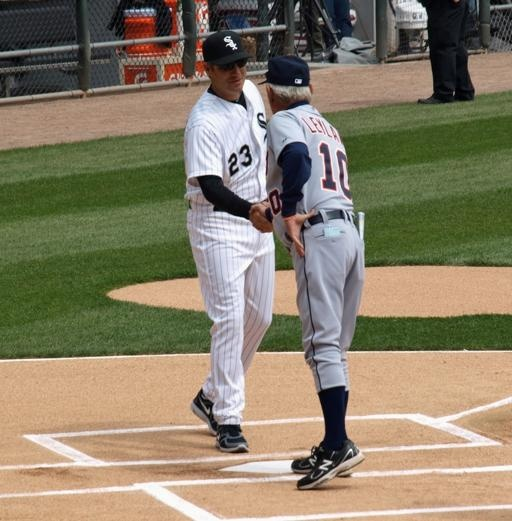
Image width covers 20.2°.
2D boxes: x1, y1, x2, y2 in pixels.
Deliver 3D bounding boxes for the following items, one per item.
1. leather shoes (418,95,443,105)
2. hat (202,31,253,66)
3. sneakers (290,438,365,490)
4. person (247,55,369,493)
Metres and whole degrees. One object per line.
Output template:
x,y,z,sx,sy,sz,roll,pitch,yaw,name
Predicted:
2.110,-1.938,17.457,0.288,0.156,0.123,3,0,2,leather shoes
-0.207,-1.232,8.472,0.168,0.172,0.249,-8,7,-21,hat
0.385,1.105,7.835,0.297,0.139,0.253,-29,9,11,sneakers
0.348,0.180,7.946,0.522,1.972,0.738,-2,12,-7,person
